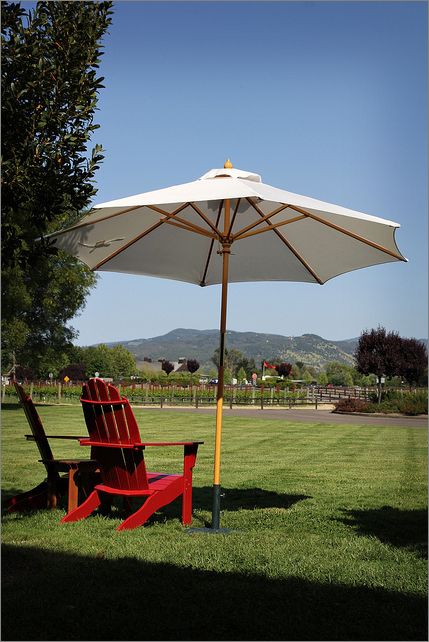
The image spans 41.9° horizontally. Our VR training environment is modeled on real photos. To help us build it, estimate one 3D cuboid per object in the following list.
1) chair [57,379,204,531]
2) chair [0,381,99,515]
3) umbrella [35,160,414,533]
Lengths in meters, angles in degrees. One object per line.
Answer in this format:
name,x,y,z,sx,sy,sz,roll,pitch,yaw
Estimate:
chair,-0.779,1.258,5.236,0.957,1.258,1.175,-10,-15,43
chair,-1.592,1.415,6.032,1.299,1.477,1.033,2,-3,-20
umbrella,0.335,-0.422,7.624,3.585,3.437,3.490,18,32,15
